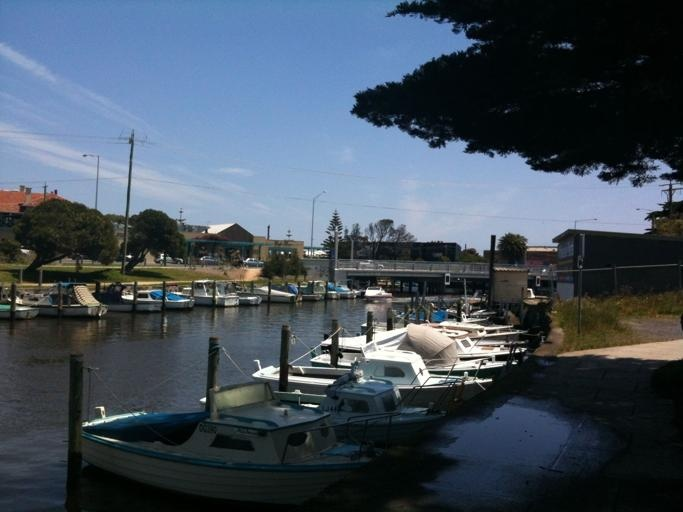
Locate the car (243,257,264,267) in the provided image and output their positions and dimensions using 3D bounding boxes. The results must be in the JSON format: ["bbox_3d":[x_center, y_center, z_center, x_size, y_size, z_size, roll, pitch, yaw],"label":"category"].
[{"bbox_3d":[-11.767,1.289,99.742,2.622,1.267,1.744,-2,8,-21],"label":"car"}]
